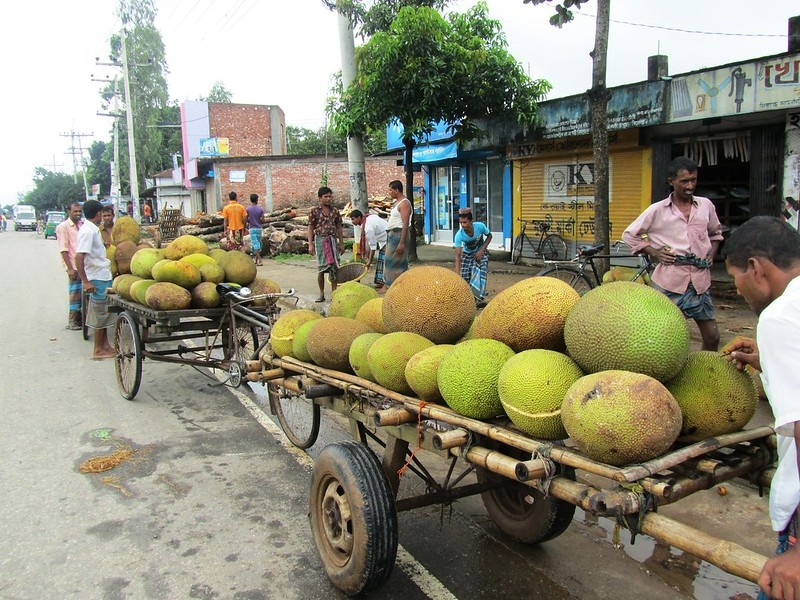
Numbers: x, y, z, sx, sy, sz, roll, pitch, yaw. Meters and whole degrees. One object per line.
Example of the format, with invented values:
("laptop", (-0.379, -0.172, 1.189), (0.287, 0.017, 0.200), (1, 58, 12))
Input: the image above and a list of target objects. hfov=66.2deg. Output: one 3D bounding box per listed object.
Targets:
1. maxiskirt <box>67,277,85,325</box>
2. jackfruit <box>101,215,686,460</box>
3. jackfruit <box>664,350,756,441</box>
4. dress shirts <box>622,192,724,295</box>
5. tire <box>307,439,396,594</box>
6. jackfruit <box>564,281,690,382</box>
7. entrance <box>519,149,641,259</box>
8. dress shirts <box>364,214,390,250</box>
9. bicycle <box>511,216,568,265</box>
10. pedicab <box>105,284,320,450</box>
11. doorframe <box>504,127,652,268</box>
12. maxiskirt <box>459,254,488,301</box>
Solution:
("maxiskirt", (-5.294, 0.028, 10.003), (0.136, 0.636, 0.184), (2, -2, 44))
("jackfruit", (-0.014, 0.216, 3.942), (3.397, 1.001, 1.187), (3, -18, 43))
("jackfruit", (1.554, 0.486, 3.222), (0.342, 0.344, 0.441), (0, 6, -3))
("dress shirts", (2.556, -0.496, 5.742), (0.913, 0.961, 0.448), (-2, 7, 7))
("tire", (-0.283, 1.302, 3.612), (0.200, 0.675, 0.604), (7, 47, -29))
("jackfruit", (1.115, 0.129, 3.078), (0.545, 0.479, 0.435), (1, 3, 21))
("entrance", (4.094, -2.155, 14.266), (3.318, 2.560, 0.387), (-2, 4, -20))
("dress shirts", (-0.432, -1.135, 10.514), (0.585, 0.617, 0.326), (-15, 18, -27))
("bicycle", (3.244, -1.396, 14.991), (1.625, 1.026, 0.685), (6, 6, 39))
("pedicab", (-2.184, 0.382, 6.647), (1.474, 1.220, 2.497), (-5, 11, -45))
("doorframe", (3.978, -2.363, 14.237), (4.036, 3.155, 0.578), (-5, 8, -23))
("maxiskirt", (1.167, -0.384, 10.054), (0.510, 0.910, 0.312), (2, 5, -6))
